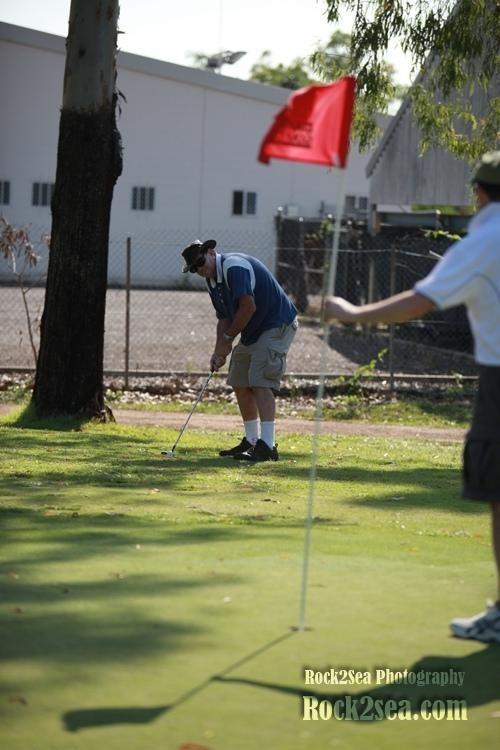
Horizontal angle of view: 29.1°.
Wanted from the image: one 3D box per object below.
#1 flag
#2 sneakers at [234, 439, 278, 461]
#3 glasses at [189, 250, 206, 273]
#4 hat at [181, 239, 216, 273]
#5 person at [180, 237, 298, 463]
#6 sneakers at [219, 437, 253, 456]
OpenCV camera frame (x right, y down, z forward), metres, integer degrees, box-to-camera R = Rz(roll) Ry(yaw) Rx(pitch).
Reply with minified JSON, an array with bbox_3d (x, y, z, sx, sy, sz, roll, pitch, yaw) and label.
[{"bbox_3d":[0.203,-0.937,3.538,0.327,0.356,0.246,3,6,-1],"label":"flag"},{"bbox_3d":[0.058,0.536,7.033,0.349,0.168,0.129,6,-7,-35],"label":"sneakers"},{"bbox_3d":[-0.368,-0.810,6.837,0.059,0.128,0.098,21,-27,-36],"label":"glasses"},{"bbox_3d":[-0.369,-0.882,6.888,0.106,0.215,0.259,38,36,-10],"label":"hat"},{"bbox_3d":[-0.071,-0.190,7.082,0.782,1.573,0.624,3,6,2],"label":"person"},{"bbox_3d":[-0.109,0.543,7.206,0.301,0.140,0.100,1,-3,-44],"label":"sneakers"}]
